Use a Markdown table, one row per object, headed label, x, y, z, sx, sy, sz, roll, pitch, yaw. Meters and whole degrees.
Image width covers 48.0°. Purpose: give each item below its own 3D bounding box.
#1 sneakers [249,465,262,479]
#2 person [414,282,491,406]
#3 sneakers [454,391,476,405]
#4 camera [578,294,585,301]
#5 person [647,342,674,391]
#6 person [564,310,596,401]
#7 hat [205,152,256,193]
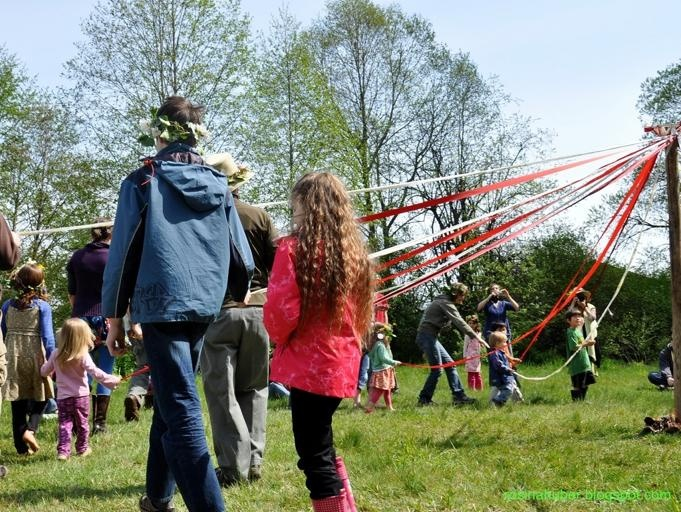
| label | x | y | z | sx | sy | sz | roll | pitch | yaw |
| --- | --- | --- | --- | --- | --- | --- | --- | --- | --- |
| sneakers | -0.739 | 1.891 | 6.696 | 0.074 | 0.116 | 0.118 | -11 | -24 | 39 |
| person | 1.697 | 1.291 | 11.175 | 1.166 | 1.737 | 0.717 | -3 | -7 | 36 |
| sneakers | 1.718 | 1.996 | 10.703 | 0.378 | 0.168 | 0.130 | -9 | -12 | 34 |
| camera | 3.521 | 0.603 | 11.211 | 0.108 | 0.107 | 0.034 | 16 | -6 | -40 |
| person | 5.143 | 1.800 | 12.347 | 0.351 | 0.818 | 1.321 | 0 | 3 | 22 |
| person | 3.368 | 1.429 | 10.742 | 0.374 | 1.301 | 1.808 | 0 | 3 | 17 |
| hat | -0.989 | -0.797 | 6.930 | 0.348 | 0.149 | 0.385 | -36 | 1 | -21 |
